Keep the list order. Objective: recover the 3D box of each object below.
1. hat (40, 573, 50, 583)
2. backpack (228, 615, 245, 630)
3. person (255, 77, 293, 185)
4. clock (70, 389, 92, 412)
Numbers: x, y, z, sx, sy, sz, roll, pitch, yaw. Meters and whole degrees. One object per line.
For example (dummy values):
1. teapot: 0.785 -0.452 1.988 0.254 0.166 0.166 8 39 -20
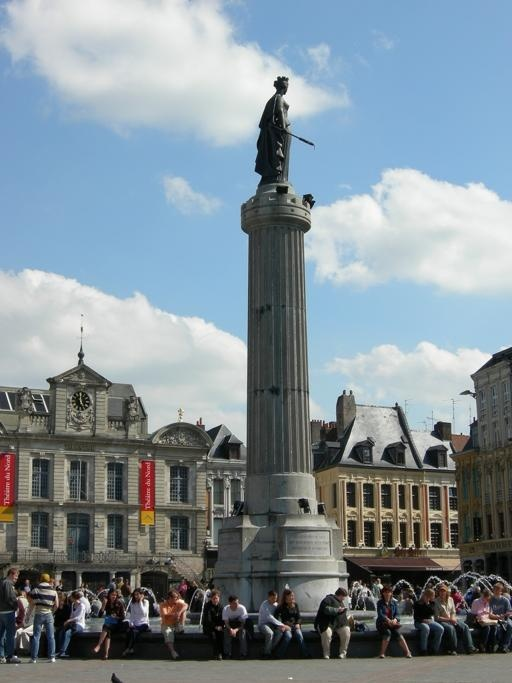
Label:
1. hat: -3.898 4.386 24.774 0.145 0.195 0.198 5 -4 -13
2. backpack: -0.371 5.103 24.320 0.221 0.095 0.222 -25 11 32
3. person: 0.437 -5.417 34.131 0.972 3.010 0.891 -5 -11 23
4. clock: -9.064 3.003 68.848 1.081 1.079 0.152 -9 -9 -38
